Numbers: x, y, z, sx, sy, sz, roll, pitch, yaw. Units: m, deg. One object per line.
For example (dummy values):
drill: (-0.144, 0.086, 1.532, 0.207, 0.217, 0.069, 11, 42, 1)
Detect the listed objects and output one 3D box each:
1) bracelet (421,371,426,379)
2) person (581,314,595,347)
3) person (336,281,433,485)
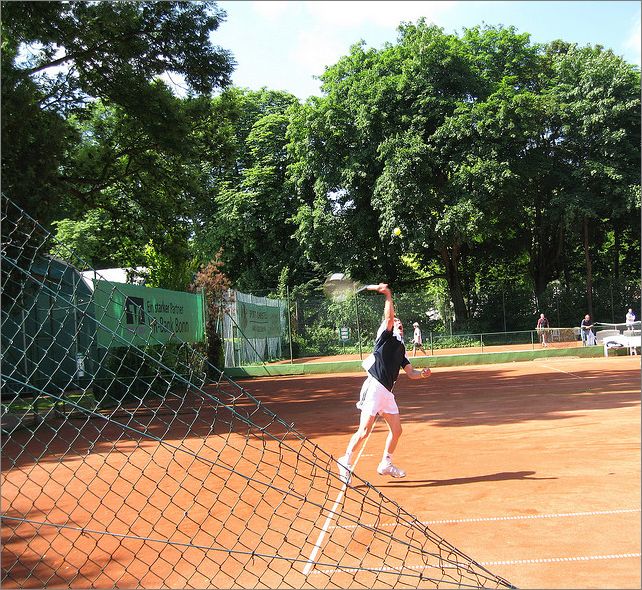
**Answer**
bracelet: (1.188, 0.915, 7.158, 0.063, 0.087, 0.088, 0, -6, 9)
person: (11.073, 1.384, 25.168, 0.537, 1.269, 2.196, -4, -4, 23)
person: (0.691, 0.946, 6.912, 0.839, 2.304, 1.529, -3, -4, 18)
